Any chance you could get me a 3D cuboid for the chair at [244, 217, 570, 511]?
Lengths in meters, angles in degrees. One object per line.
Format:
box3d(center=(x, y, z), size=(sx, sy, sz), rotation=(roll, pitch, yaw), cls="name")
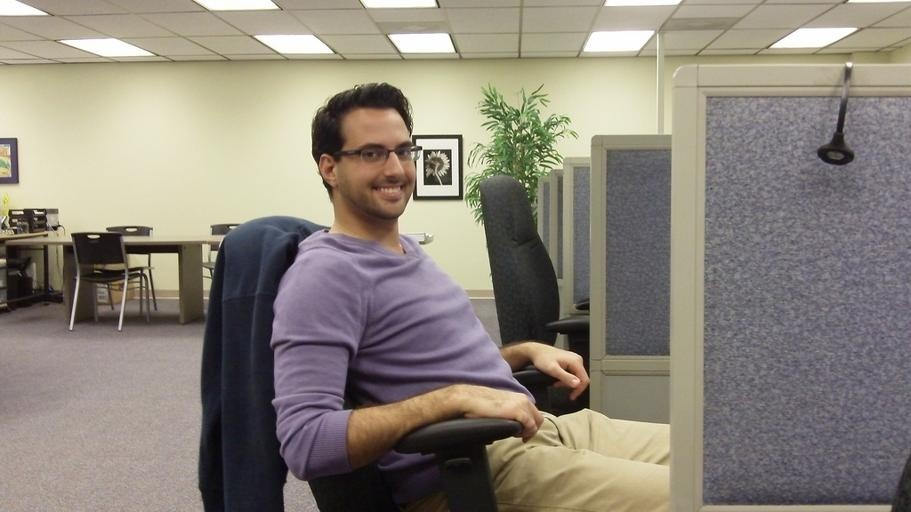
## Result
box3d(center=(0.000, 0.318, 2.187), size=(0.774, 0.942, 1.424), rotation=(3, 5, 44), cls="chair")
